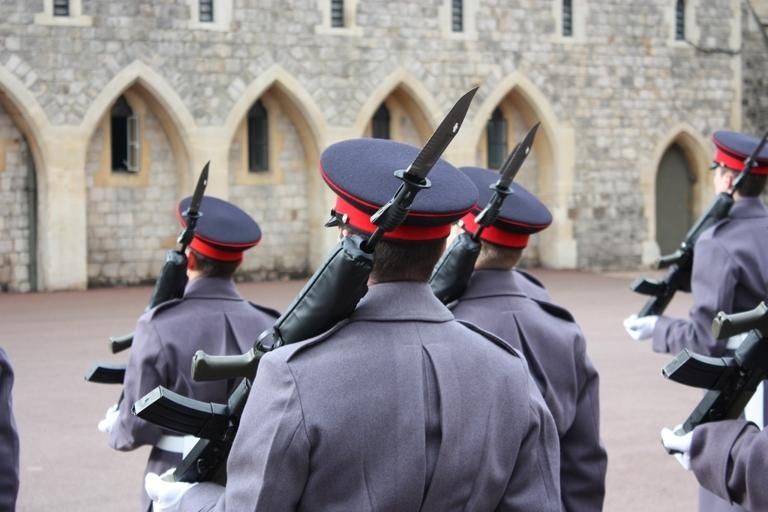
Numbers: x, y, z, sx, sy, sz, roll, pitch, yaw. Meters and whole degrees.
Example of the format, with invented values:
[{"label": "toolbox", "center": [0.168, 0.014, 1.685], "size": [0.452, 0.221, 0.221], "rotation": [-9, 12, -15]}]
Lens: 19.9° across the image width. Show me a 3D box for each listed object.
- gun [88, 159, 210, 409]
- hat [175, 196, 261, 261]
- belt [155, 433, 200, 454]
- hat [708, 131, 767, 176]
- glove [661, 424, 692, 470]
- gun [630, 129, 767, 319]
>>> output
[{"label": "gun", "center": [-2.486, 0.339, 22.801], "size": [0.896, 2.743, 0.187], "rotation": [18, -8, 26]}, {"label": "hat", "center": [-1.560, -0.327, 20.253], "size": [0.597, 0.253, 0.683], "rotation": [1, 24, -44]}, {"label": "belt", "center": [-1.904, 1.752, 20.008], "size": [0.282, 0.146, 0.217], "rotation": [0, -13, 9]}, {"label": "hat", "center": [3.366, -0.999, 20.818], "size": [0.443, 0.202, 0.410], "rotation": [15, 17, 33]}, {"label": "glove", "center": [2.594, 1.717, 19.812], "size": [0.356, 0.151, 0.341], "rotation": [38, 26, -22]}, {"label": "gun", "center": [3.209, -0.361, 22.335], "size": [0.157, 2.101, 0.762], "rotation": [35, 11, 5]}]
